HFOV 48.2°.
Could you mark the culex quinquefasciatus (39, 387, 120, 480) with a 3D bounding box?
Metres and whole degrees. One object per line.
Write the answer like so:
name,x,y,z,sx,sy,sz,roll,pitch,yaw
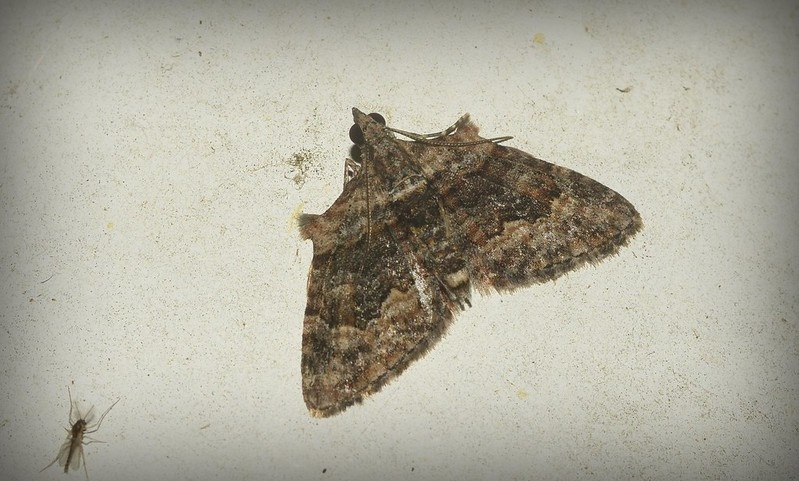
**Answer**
culex quinquefasciatus,-1.800,1.100,5.064,0.395,0.490,0.150,5,-11,-12
